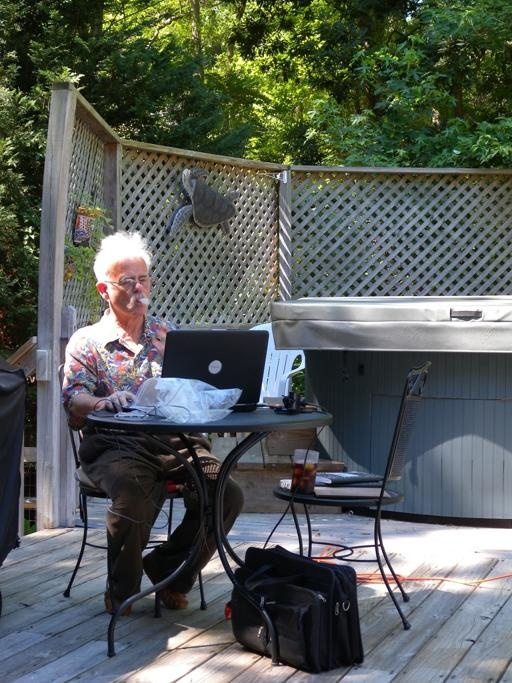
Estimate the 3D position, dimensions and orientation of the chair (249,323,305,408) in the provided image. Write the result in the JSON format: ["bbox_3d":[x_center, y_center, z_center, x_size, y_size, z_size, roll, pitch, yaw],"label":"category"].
[{"bbox_3d":[0.133,0.117,4.918,0.449,0.565,0.437,0,-3,26],"label":"chair"}]

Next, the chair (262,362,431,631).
[{"bbox_3d":[0.328,0.479,2.646,0.533,0.856,0.414,0,-1,13],"label":"chair"}]

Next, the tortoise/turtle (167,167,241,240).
[{"bbox_3d":[-0.370,-0.949,5.504,0.146,0.470,0.507,18,23,36],"label":"tortoise/turtle"}]

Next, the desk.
[{"bbox_3d":[-0.110,0.486,2.243,0.679,0.687,0.664,3,-5,-23],"label":"desk"}]

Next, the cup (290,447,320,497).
[{"bbox_3d":[0.145,0.405,2.434,0.088,0.127,0.084,4,-5,0],"label":"cup"}]

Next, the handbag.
[{"bbox_3d":[0.096,0.724,2.164,0.223,0.255,0.389,3,-3,-39],"label":"handbag"}]

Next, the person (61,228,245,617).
[{"bbox_3d":[-0.365,0.222,2.600,0.584,1.162,0.558,-1,-1,40],"label":"person"}]

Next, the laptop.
[{"bbox_3d":[-0.118,0.050,2.212,0.280,0.232,0.187,3,7,-12],"label":"laptop"}]
